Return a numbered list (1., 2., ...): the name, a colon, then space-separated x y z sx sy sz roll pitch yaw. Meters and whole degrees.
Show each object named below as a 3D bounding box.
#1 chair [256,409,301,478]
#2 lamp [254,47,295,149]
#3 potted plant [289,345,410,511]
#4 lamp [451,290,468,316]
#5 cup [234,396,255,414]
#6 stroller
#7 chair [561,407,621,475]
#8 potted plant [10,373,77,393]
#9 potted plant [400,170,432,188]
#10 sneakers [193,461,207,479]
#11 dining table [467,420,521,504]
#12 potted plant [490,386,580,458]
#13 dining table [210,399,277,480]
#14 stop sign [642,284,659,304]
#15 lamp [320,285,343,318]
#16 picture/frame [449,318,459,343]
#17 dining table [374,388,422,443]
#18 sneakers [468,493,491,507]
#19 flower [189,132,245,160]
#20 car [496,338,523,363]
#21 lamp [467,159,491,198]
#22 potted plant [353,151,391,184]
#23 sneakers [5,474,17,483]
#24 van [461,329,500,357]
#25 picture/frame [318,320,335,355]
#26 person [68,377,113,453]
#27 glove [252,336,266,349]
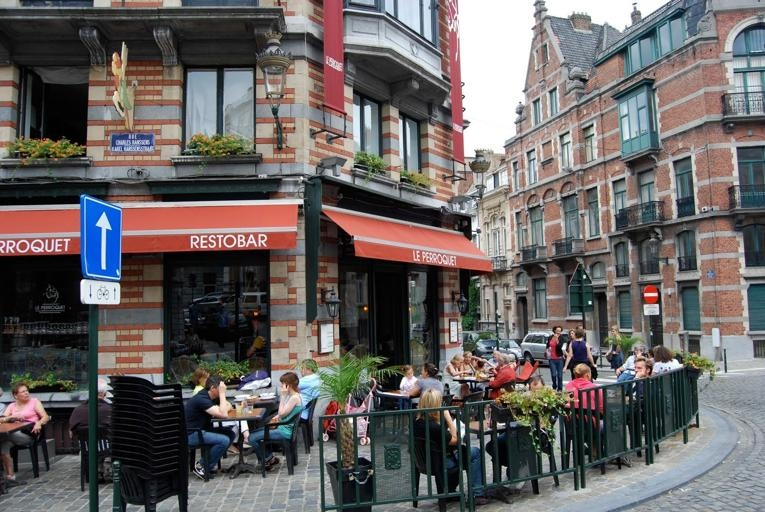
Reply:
1. chair: -2.670 4.748 23.965 1.510 2.041 1.316 1 -8 -3
2. lamp: -3.001 -4.570 26.221 0.947 2.868 1.350 -1 -10 -6
3. potted plant: -0.327 3.732 24.053 2.686 2.646 2.542 0 -10 -18
4. lamp: 2.678 1.507 31.390 0.447 0.777 0.655 -7 -11 23
5. cup: -3.608 3.870 24.387 0.403 0.482 0.423 -1 -4 0
6. stroller: -0.652 4.078 25.281 1.557 2.120 1.223 1 -14 20
7. chair: 4.961 4.374 22.779 1.441 1.940 1.176 1 -2 -40
8. potted plant: -9.425 3.542 26.122 1.089 0.363 0.768 2 -6 -11
9. potted plant: 1.077 -2.447 29.638 0.677 0.241 0.680 7 -1 -23
10. sneakers: -4.671 5.458 23.820 0.559 0.255 0.191 35 -7 38
11. dining table: 2.904 4.955 22.677 1.771 1.671 1.753 0 -12 -3
12. potted plant: 3.632 3.867 22.263 1.520 1.664 1.839 -2 -7 21
13. dining table: -3.635 4.875 24.194 1.823 1.396 1.522 -5 -11 21
14. stop sign: 10.611 1.455 36.558 1.089 1.148 0.151 0 -3 -41
15. lamp: -1.429 1.302 26.899 0.476 0.971 0.536 -11 -14 40
16. picture/frame: 2.405 2.482 31.151 0.101 1.024 0.770 -3 -7 30
17. dining table: 0.373 4.132 25.801 1.300 1.231 0.957 1 7 18
18. sneakers: 2.391 5.797 22.281 0.451 0.159 0.276 -1 -2 -18
19. flower: -4.698 -3.145 26.494 1.715 0.695 0.201 -2 -10 0
20. car: 5.611 3.930 39.771 1.131 0.837 2.318 0 -9 -7
21. lamp: 3.424 -2.830 32.321 0.807 1.576 0.796 -1 -6 -8
22. potted plant: -0.331 -2.727 28.406 0.828 0.442 1.213 8 4 30
23. sneakers: -9.369 5.558 23.461 0.114 0.127 0.284 1 0 13
24. van: 4.419 3.857 41.446 1.112 0.945 1.993 2 -10 -22
25. picture/frame: -1.625 2.326 26.827 0.147 1.095 0.947 -5 -8 30
26. person: -7.346 3.931 23.881 1.372 1.637 1.123 0 -13 -7
27. glove: -3.485 2.423 26.663 0.334 0.348 0.332 -8 2 18
